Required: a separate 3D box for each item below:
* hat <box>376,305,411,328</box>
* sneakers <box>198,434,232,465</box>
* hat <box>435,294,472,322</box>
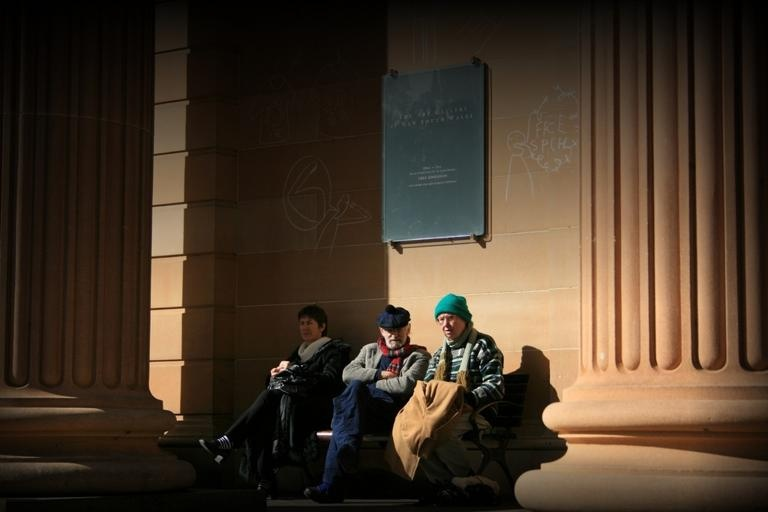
[{"bbox_3d":[0.098,0.606,7.708,0.211,0.147,0.265,-3,13,2],"label":"hat"},{"bbox_3d":[-1.528,1.755,7.056,0.221,0.221,0.202,-2,-3,14],"label":"sneakers"},{"bbox_3d":[0.677,0.515,7.588,0.237,0.268,0.325,-6,-13,23],"label":"hat"}]
